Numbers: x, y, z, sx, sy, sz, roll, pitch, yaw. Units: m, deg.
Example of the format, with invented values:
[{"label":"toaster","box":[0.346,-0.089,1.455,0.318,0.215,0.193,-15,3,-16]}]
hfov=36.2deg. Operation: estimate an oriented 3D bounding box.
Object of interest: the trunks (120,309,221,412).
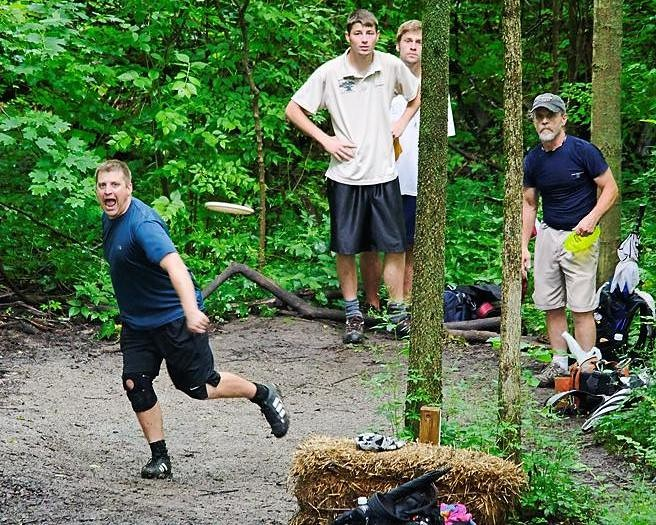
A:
[{"label":"trunks","box":[-1.189,0.745,7.503,0.729,0.833,0.425,-19,16,-11]}]

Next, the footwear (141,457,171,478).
[{"label":"footwear","box":[-1.228,1.471,7.226,0.209,0.110,0.115,7,-4,-9]}]

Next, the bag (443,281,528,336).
[{"label":"bag","box":[1.496,0.444,10.220,0.968,0.512,0.365,-2,-7,23]}]

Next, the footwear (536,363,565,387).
[{"label":"footwear","box":[1.938,0.965,8.661,0.236,0.189,0.467,0,8,19]}]

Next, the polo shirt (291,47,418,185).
[{"label":"polo shirt","box":[0.316,-1.431,9.804,1.490,1.230,0.495,-9,19,-25]}]

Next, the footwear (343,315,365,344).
[{"label":"footwear","box":[0.250,0.644,9.675,0.194,0.257,0.220,-3,8,-1]}]

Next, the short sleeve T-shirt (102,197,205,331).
[{"label":"short sleeve T-shirt","box":[-1.331,0.010,7.264,0.687,0.935,0.309,4,11,41]}]

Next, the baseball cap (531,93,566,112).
[{"label":"baseball cap","box":[1.873,-1.357,8.579,0.283,0.166,0.245,-1,8,10]}]

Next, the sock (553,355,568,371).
[{"label":"sock","box":[2.027,0.856,8.736,0.147,0.134,0.088,7,-11,-2]}]

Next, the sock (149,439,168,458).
[{"label":"sock","box":[-1.213,1.335,7.254,0.129,0.115,0.121,-4,-7,-3]}]

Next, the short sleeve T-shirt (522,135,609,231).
[{"label":"short sleeve T-shirt","box":[2.096,-0.713,8.844,0.865,0.773,0.414,-3,12,34]}]

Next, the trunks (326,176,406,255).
[{"label":"trunks","box":[0.315,-0.475,9.862,0.823,0.719,0.455,-3,6,-20]}]
